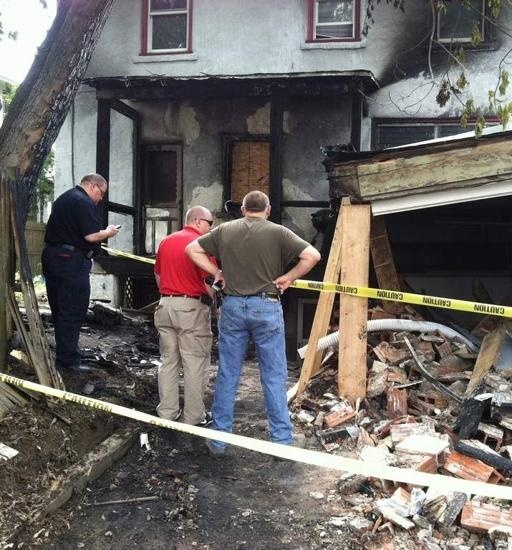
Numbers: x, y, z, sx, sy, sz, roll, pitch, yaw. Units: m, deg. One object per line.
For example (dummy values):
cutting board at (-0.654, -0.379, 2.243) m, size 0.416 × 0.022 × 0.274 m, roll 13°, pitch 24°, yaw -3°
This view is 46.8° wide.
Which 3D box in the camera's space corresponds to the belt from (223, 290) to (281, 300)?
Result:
belt at (-0.033, 0.158, 4.700) m, size 0.450 × 0.077 × 0.169 m, roll 3°, pitch 8°, yaw 0°

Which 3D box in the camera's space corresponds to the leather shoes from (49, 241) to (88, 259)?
leather shoes at (-1.793, -0.250, 5.683) m, size 0.248 × 0.087 × 0.190 m, roll 11°, pitch -3°, yaw -15°

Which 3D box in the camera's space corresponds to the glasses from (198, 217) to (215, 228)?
glasses at (-0.443, -0.495, 5.411) m, size 0.131 × 0.128 × 0.040 m, roll 13°, pitch 48°, yaw 3°

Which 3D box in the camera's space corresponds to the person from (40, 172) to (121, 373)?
person at (-1.773, 0.045, 5.753) m, size 0.604 × 1.722 × 0.442 m, roll 0°, pitch 8°, yaw -20°

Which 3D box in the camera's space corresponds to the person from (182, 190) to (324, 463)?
person at (-0.027, 0.378, 4.739) m, size 1.013 × 2.076 × 0.520 m, roll 3°, pitch 7°, yaw 5°

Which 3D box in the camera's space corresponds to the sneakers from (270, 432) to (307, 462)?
sneakers at (0.304, 1.452, 5.073) m, size 0.134 × 0.279 × 0.394 m, roll -10°, pitch -39°, yaw 28°
